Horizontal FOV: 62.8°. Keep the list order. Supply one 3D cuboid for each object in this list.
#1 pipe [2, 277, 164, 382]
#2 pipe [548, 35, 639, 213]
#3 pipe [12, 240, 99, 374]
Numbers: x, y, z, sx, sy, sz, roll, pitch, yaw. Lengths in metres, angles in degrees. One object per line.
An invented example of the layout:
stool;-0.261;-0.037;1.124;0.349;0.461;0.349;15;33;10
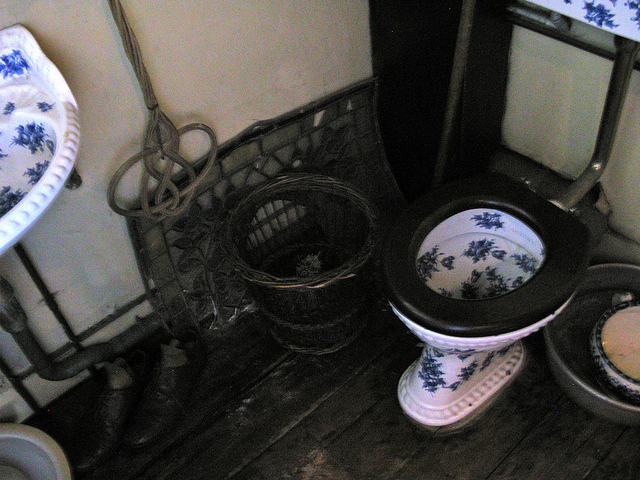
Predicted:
pipe;-0.748;0.272;1.616;0.312;0.395;0.055;-39;40;-18
pipe;0.795;-0.346;1.511;0.087;0.490;0.165;33;38;33
pipe;-0.757;0.242;1.626;0.084;0.598;0.081;-26;35;-10
